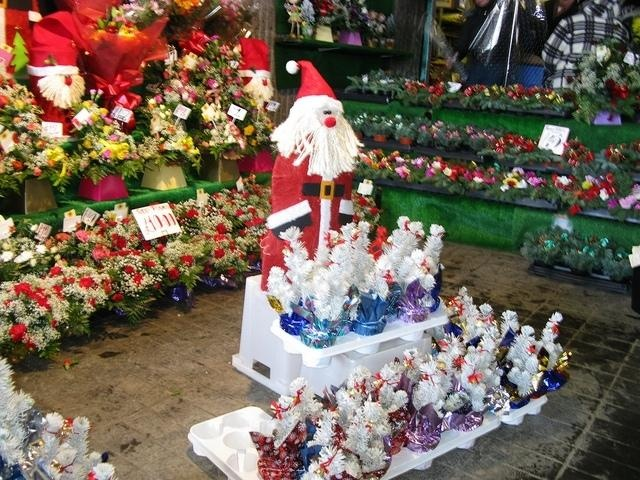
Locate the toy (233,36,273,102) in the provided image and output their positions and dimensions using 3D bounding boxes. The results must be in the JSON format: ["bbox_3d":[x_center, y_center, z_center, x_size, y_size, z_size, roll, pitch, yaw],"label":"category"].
[{"bbox_3d":[-0.542,-1.463,4.582,0.352,0.519,0.179,-21,13,-29],"label":"toy"}]

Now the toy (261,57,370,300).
[{"bbox_3d":[-0.046,-0.304,2.743,0.646,1.111,0.484,-21,29,-35],"label":"toy"}]
